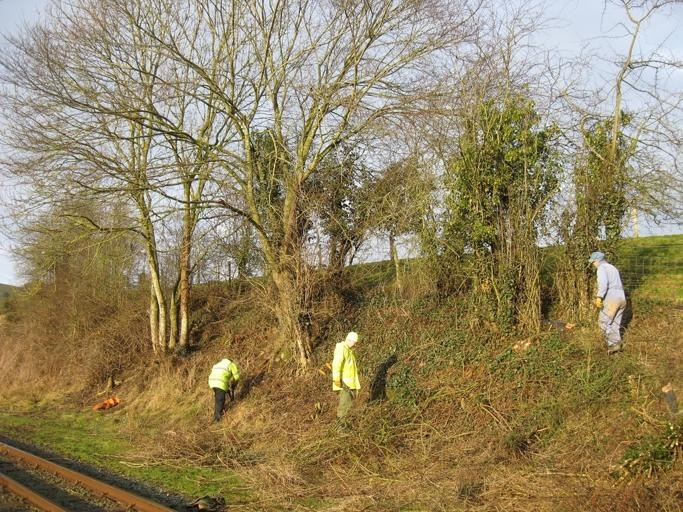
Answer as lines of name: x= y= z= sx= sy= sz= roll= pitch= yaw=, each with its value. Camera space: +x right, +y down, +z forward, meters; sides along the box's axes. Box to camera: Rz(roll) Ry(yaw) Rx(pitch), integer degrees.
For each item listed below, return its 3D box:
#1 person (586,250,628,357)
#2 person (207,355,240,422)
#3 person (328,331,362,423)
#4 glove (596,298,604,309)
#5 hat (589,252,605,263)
person: x=6.377 y=1.108 z=18.702 sx=0.735 sy=2.418 sz=0.573 roll=0 pitch=-6 yaw=20
person: x=-3.207 y=3.664 z=21.376 sx=0.826 sy=1.671 sz=0.729 roll=5 pitch=-6 yaw=-32
person: x=0.140 y=2.902 z=18.933 sx=0.683 sy=2.036 sz=0.685 roll=3 pitch=-5 yaw=-13
glove: x=6.193 y=1.159 z=18.769 sx=0.059 sy=0.226 sz=0.217 roll=9 pitch=3 yaw=-2
hat: x=6.224 y=0.039 z=19.091 sx=0.267 sy=0.163 sz=0.217 roll=-19 pitch=22 yaw=24
